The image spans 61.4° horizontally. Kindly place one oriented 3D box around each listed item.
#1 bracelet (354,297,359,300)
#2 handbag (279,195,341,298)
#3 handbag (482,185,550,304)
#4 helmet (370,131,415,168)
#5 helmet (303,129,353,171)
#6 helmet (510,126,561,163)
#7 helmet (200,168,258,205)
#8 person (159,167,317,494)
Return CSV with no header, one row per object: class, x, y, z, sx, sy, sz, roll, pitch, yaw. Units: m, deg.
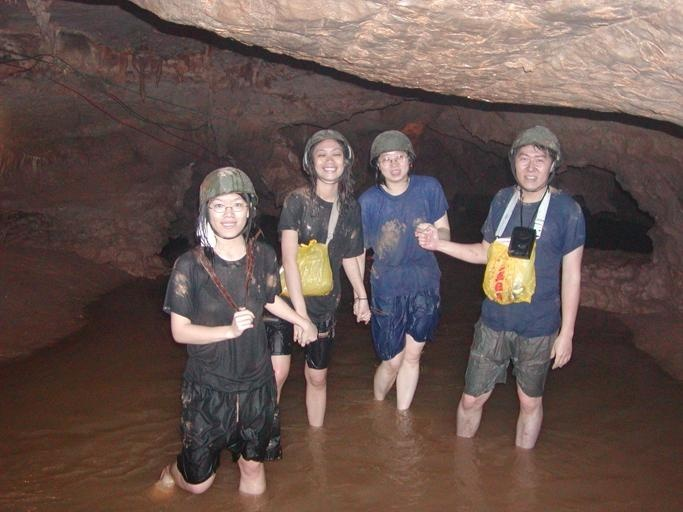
bracelet,0.158,0.412,5.516,0.035,0.026,0.035,6,-8,-42
handbag,-0.312,-0.049,4.881,0.545,0.828,0.328,-4,19,-26
handbag,1.456,-0.063,4.771,0.463,0.942,0.497,6,12,26
helmet,0.507,-1.057,5.357,0.339,0.218,0.347,-4,-11,23
helmet,-0.133,-1.010,5.207,0.405,0.445,0.193,2,20,4
helmet,1.621,-0.921,4.744,0.363,0.281,0.178,6,13,27
helmet,-0.870,-0.546,4.294,0.314,0.192,0.313,-11,3,-20
person,-0.812,0.797,4.474,1.355,2.830,1.173,-1,6,-7
